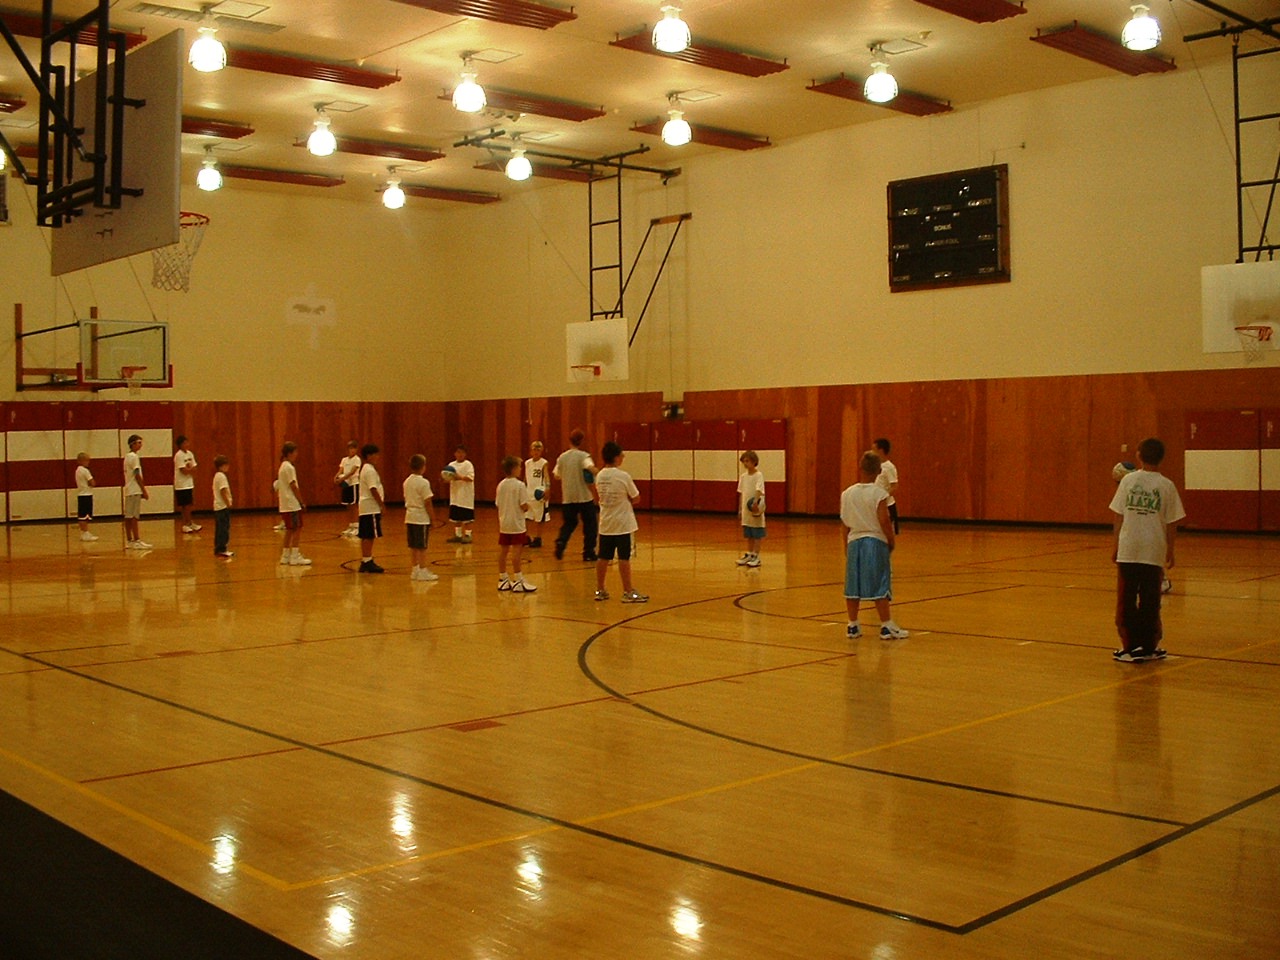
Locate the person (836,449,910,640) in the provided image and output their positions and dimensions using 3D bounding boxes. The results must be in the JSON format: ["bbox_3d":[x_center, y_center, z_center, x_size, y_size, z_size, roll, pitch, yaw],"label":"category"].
[{"bbox_3d":[2.057,0.523,9.571,0.504,1.577,1.644,0,3,11],"label":"person"}]

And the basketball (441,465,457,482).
[{"bbox_3d":[-2.817,-0.106,15.949,0.244,0.133,0.342,1,-1,-12],"label":"basketball"}]

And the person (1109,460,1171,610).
[{"bbox_3d":[3.717,0.278,7.935,0.441,0.825,0.285,0,3,22],"label":"person"}]

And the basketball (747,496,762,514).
[{"bbox_3d":[1.485,0.290,13.983,0.172,0.205,0.122,-1,3,-2],"label":"basketball"}]

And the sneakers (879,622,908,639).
[{"bbox_3d":[2.133,1.244,9.091,0.248,0.143,0.113,-1,3,-35],"label":"sneakers"}]

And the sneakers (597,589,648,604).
[{"bbox_3d":[-0.193,1.201,11.157,0.500,0.231,0.193,-1,0,3],"label":"sneakers"}]

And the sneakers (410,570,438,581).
[{"bbox_3d":[-2.598,1.120,12.926,0.311,0.156,0.112,-1,3,-12],"label":"sneakers"}]

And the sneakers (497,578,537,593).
[{"bbox_3d":[-1.376,1.168,11.947,0.435,0.213,0.164,1,-1,-1],"label":"sneakers"}]
